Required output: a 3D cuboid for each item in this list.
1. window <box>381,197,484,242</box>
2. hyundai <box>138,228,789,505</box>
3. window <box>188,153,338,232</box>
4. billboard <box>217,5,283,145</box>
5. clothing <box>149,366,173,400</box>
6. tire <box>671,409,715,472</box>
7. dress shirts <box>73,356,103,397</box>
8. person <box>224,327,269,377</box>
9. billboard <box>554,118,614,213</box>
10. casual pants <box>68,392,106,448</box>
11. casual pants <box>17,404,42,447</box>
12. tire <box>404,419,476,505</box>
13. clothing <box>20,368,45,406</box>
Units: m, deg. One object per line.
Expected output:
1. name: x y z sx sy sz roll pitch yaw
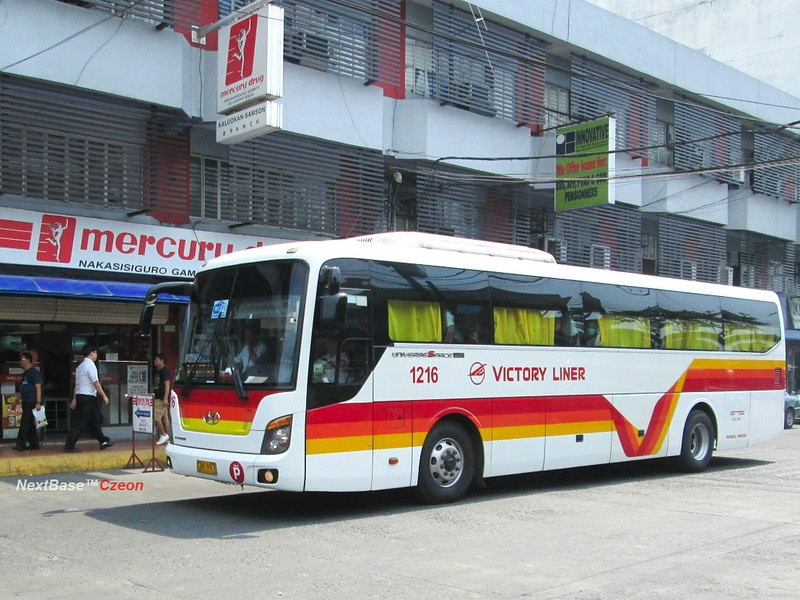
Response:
1. window: 0.964 -2.380 25.509 3.029 1.067 0.124 6 7 39
2. hyundai: 1.502 1.107 16.421 12.754 3.884 4.235 8 -11 -40
3. window: -3.347 -2.523 21.754 3.437 1.661 0.546 1 0 -36
4. billboard: -3.261 -4.894 19.427 0.608 2.766 1.659 0 1 -43
5. clothing: -5.098 1.775 19.121 0.286 0.808 0.656 4 -6 -42
6. tire: 5.750 2.751 17.739 0.431 1.295 1.239 -2 -1 45
7. dress shirts: -6.461 1.585 18.390 0.691 0.787 0.367 -8 -8 30
8. person: -2.177 0.857 12.963 0.427 0.990 0.311 10 25 13
9. billboard: 5.339 -3.989 26.133 0.311 3.053 2.500 9 -12 -41
10. casual pants: -6.425 2.455 18.401 0.492 1.108 0.823 1 0 14
11. casual pants: -7.570 2.553 18.232 0.403 0.956 0.466 1 0 -8
12. tire: 0.643 2.510 14.097 1.195 1.247 0.430 11 -3 -33
13. clothing: -7.593 1.725 18.363 0.593 0.695 0.375 -10 -12 31
